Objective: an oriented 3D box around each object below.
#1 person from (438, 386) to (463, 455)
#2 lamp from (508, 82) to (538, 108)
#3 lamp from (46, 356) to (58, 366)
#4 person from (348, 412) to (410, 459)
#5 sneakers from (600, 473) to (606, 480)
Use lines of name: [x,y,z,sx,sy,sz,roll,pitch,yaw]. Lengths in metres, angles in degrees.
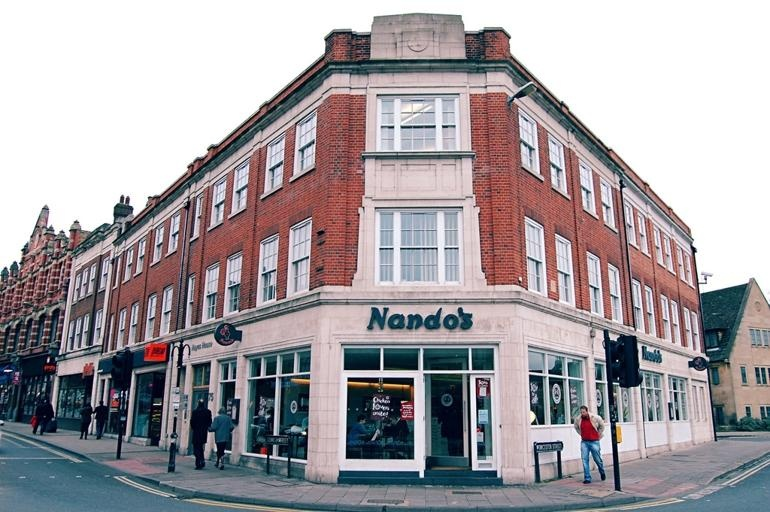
person: [2.516,6.192,23.309,0.833,2.440,0.647,-2,-22,6]
lamp: [5.463,-6.458,24.819,0.614,0.537,2.331,11,-1,-13]
lamp: [-26.160,8.218,48.561,0.559,0.533,0.991,10,1,-20]
person: [-0.217,6.765,23.269,2.290,1.507,0.356,-1,-22,2]
sneakers: [8.279,8.388,23.542,0.122,0.237,0.356,-16,-54,6]
